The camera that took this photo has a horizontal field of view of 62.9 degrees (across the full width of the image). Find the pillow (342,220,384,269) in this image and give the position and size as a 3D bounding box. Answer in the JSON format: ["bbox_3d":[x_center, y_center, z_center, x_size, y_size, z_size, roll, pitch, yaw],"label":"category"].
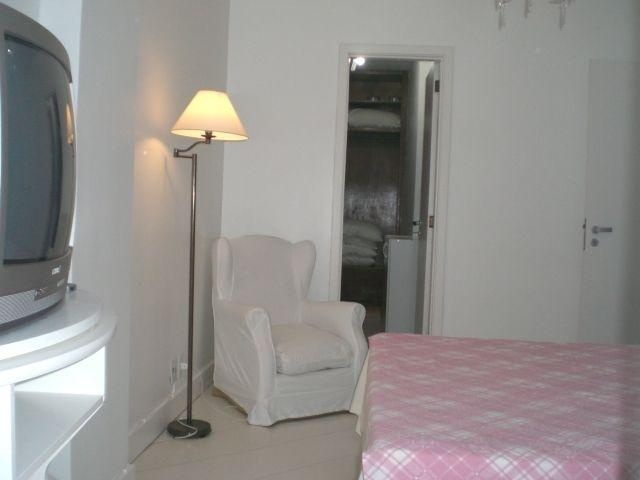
[{"bbox_3d":[0.460,0.060,5.556,0.416,0.477,0.166,4,-3,0],"label":"pillow"}]

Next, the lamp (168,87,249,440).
[{"bbox_3d":[-0.627,0.076,2.920,0.447,1.865,0.670,-2,5,-9],"label":"lamp"}]

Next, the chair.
[{"bbox_3d":[-0.231,0.507,3.258,0.832,1.063,0.835,2,-1,-45],"label":"chair"}]
